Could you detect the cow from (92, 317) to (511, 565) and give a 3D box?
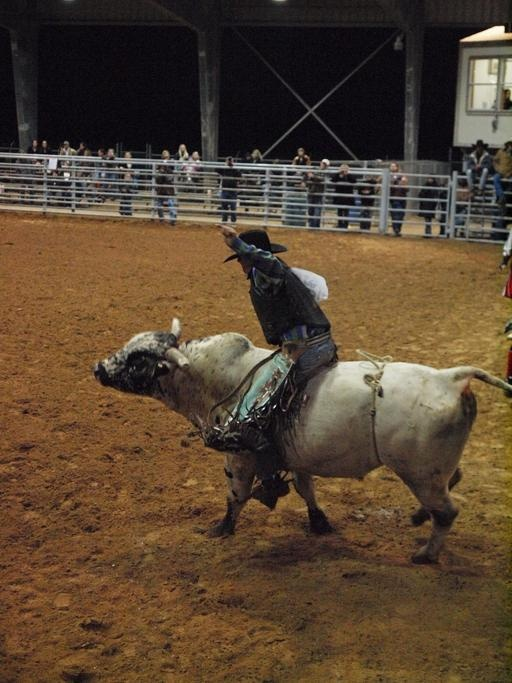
[{"bbox_3d":[-0.136,0.261,4.167,3.187,1.399,0.944,5,26,29],"label":"cow"}]

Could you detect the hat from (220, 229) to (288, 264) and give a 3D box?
[{"bbox_3d":[-0.051,-0.487,3.309,0.319,0.112,0.263,-14,12,30],"label":"hat"}]
